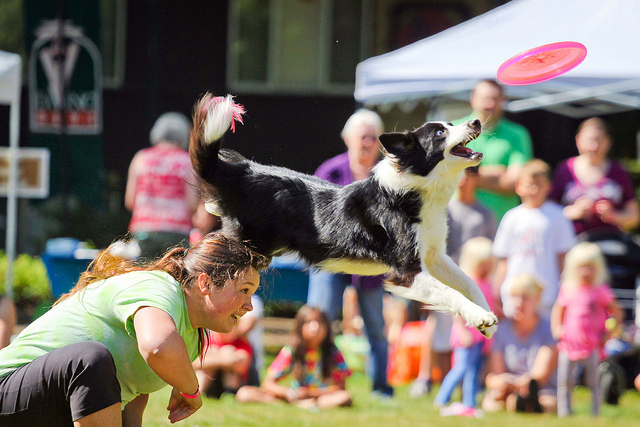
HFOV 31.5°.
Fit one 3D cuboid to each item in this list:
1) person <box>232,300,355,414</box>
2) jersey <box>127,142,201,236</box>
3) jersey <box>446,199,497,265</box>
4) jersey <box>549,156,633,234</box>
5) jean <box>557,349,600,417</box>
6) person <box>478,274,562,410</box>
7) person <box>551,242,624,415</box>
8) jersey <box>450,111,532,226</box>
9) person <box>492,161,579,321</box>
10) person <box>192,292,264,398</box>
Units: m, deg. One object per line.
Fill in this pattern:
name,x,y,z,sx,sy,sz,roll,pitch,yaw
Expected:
person,-0.188,1.583,12.474,1.157,1.107,0.788,-1,-4,11
jersey,-1.721,-0.242,12.699,0.850,1.143,0.632,5,-11,-2
jersey,1.681,0.213,12.584,0.537,0.710,0.246,2,3,7
jersey,2.989,-0.179,12.581,0.890,0.828,0.277,3,4,16
jean,2.650,1.746,11.663,0.434,0.692,0.264,3,3,9
person,2.100,1.415,11.988,0.776,1.507,1.105,-3,-3,17
person,2.795,1.157,11.772,0.663,1.776,0.620,1,0,-26
jersey,2.038,-0.576,12.718,0.729,1.417,1.022,1,0,-8
person,2.305,0.282,12.255,0.840,1.773,0.696,1,-6,-2
person,-0.879,1.387,12.271,0.778,1.154,0.488,1,-4,-20
